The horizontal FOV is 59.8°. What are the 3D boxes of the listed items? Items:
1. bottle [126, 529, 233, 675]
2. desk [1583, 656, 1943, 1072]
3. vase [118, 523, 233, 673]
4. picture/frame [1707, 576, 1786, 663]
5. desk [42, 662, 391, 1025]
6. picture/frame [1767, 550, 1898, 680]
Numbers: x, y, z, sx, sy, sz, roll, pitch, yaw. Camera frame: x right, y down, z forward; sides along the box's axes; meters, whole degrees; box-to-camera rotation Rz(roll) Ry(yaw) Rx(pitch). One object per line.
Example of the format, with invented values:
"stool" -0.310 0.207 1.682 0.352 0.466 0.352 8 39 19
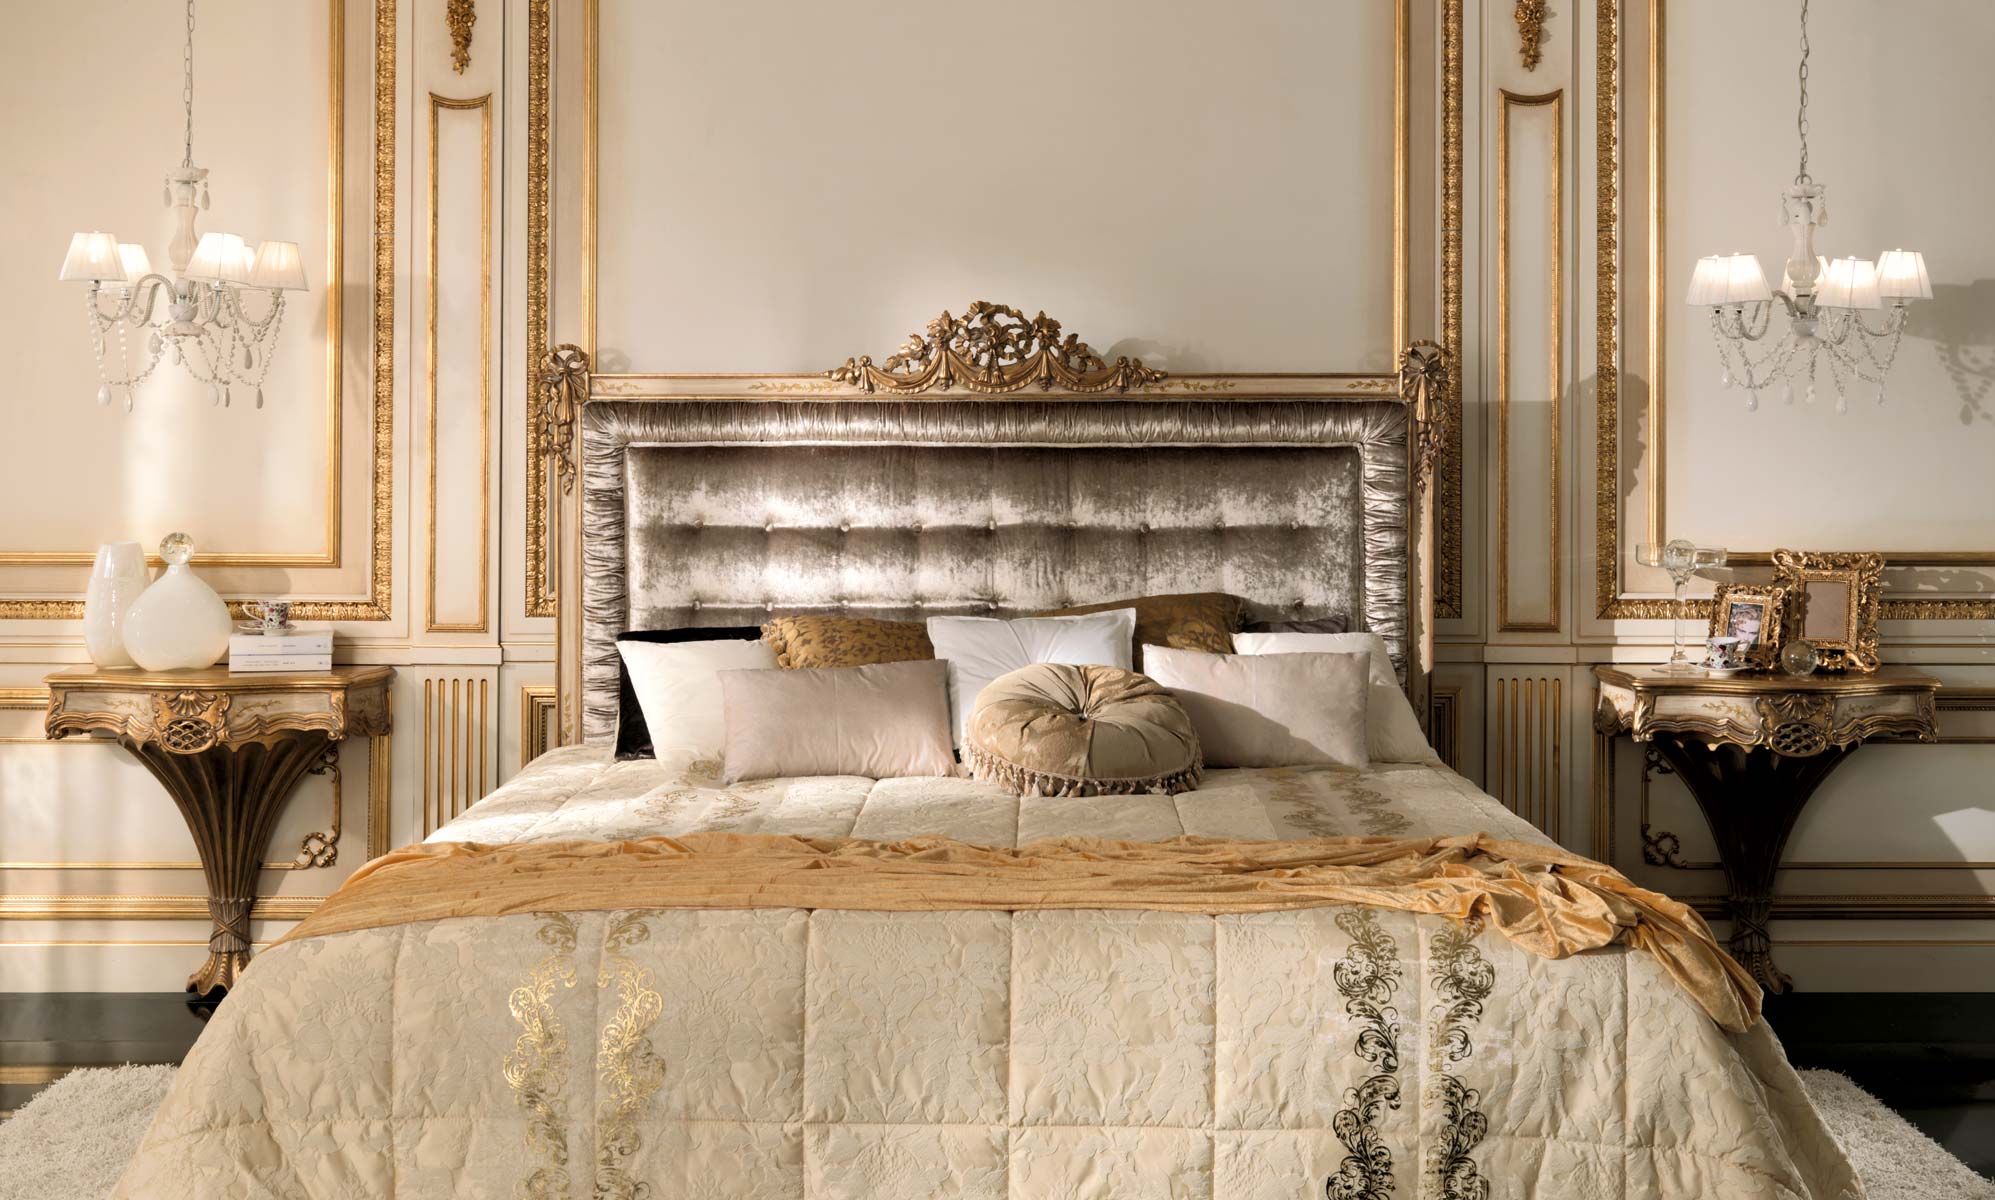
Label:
"bottle" -3.136 0.019 6.526 0.443 0.578 0.449 0 -1 0
"desk" 2.929 0.921 7.121 1.425 1.337 1.387 0 5 8
"vase" -3.118 0.005 6.598 0.392 0.504 0.394 0 1 33
"picture/frame" 2.856 0.087 6.597 0.340 0.375 0.028 5 -18 39
"desk" -3.114 0.934 7.057 1.355 1.361 1.415 0 -2 -3
"picture/frame" 3.164 0.054 6.625 0.532 0.531 0.078 0 -4 3
